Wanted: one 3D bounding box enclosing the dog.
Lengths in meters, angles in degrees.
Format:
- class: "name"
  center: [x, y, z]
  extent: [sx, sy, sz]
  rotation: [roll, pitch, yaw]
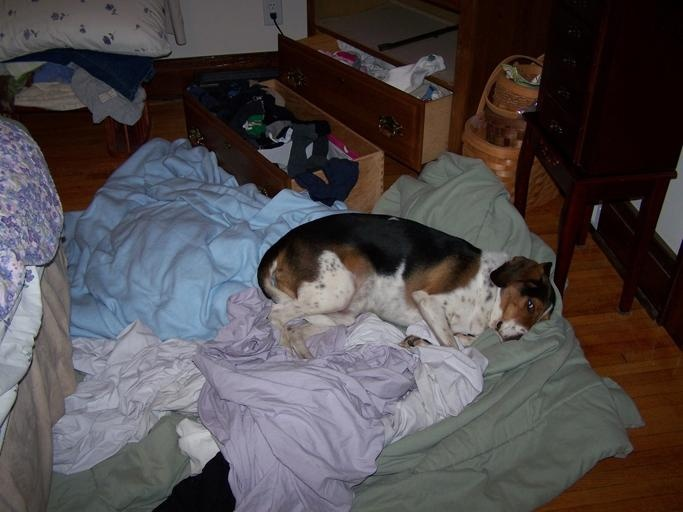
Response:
- class: "dog"
  center: [0.225, 0.100, 2.292]
  extent: [1.072, 0.479, 0.625]
  rotation: [11, 18, -12]
